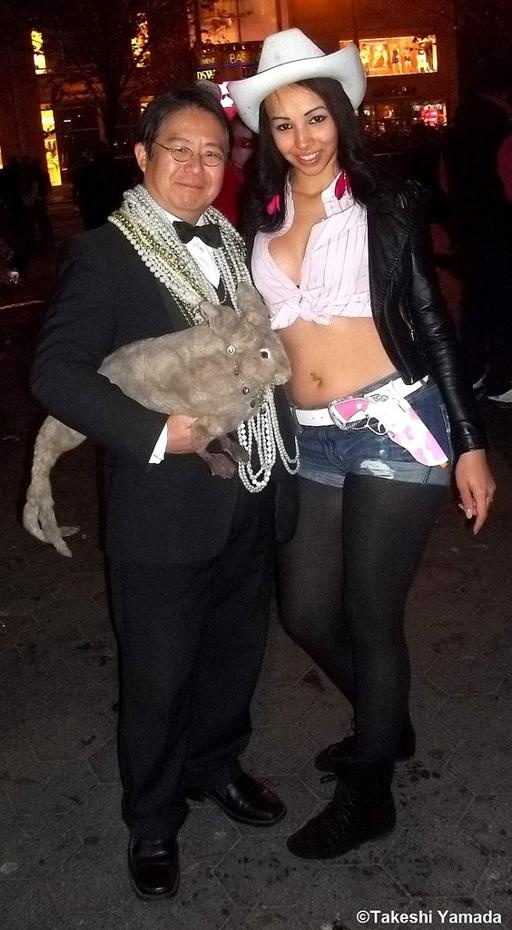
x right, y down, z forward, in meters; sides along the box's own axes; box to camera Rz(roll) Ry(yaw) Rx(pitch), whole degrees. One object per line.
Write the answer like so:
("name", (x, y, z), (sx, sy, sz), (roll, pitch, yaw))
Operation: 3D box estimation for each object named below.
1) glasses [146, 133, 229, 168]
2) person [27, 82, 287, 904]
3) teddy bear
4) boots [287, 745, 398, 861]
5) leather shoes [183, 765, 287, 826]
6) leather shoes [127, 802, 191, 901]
("glasses", (-0.160, -0.737, 1.654), (0.158, 0.081, 0.061), (-11, 21, -7))
("person", (-0.108, 0.099, 1.819), (0.517, 1.936, 0.741), (8, 15, 30))
("teddy bear", (-0.319, -0.193, 1.737), (0.861, 0.549, 0.342), (-19, 39, 15))
("boots", (0.230, 0.958, 1.970), (0.332, 0.230, 0.133), (-5, 3, -17))
("leather shoes", (-0.070, 1.045, 2.214), (0.350, 0.133, 0.137), (2, 1, 38))
("leather shoes", (-0.288, 1.097, 1.996), (0.124, 0.140, 0.352), (2, 7, -12))
